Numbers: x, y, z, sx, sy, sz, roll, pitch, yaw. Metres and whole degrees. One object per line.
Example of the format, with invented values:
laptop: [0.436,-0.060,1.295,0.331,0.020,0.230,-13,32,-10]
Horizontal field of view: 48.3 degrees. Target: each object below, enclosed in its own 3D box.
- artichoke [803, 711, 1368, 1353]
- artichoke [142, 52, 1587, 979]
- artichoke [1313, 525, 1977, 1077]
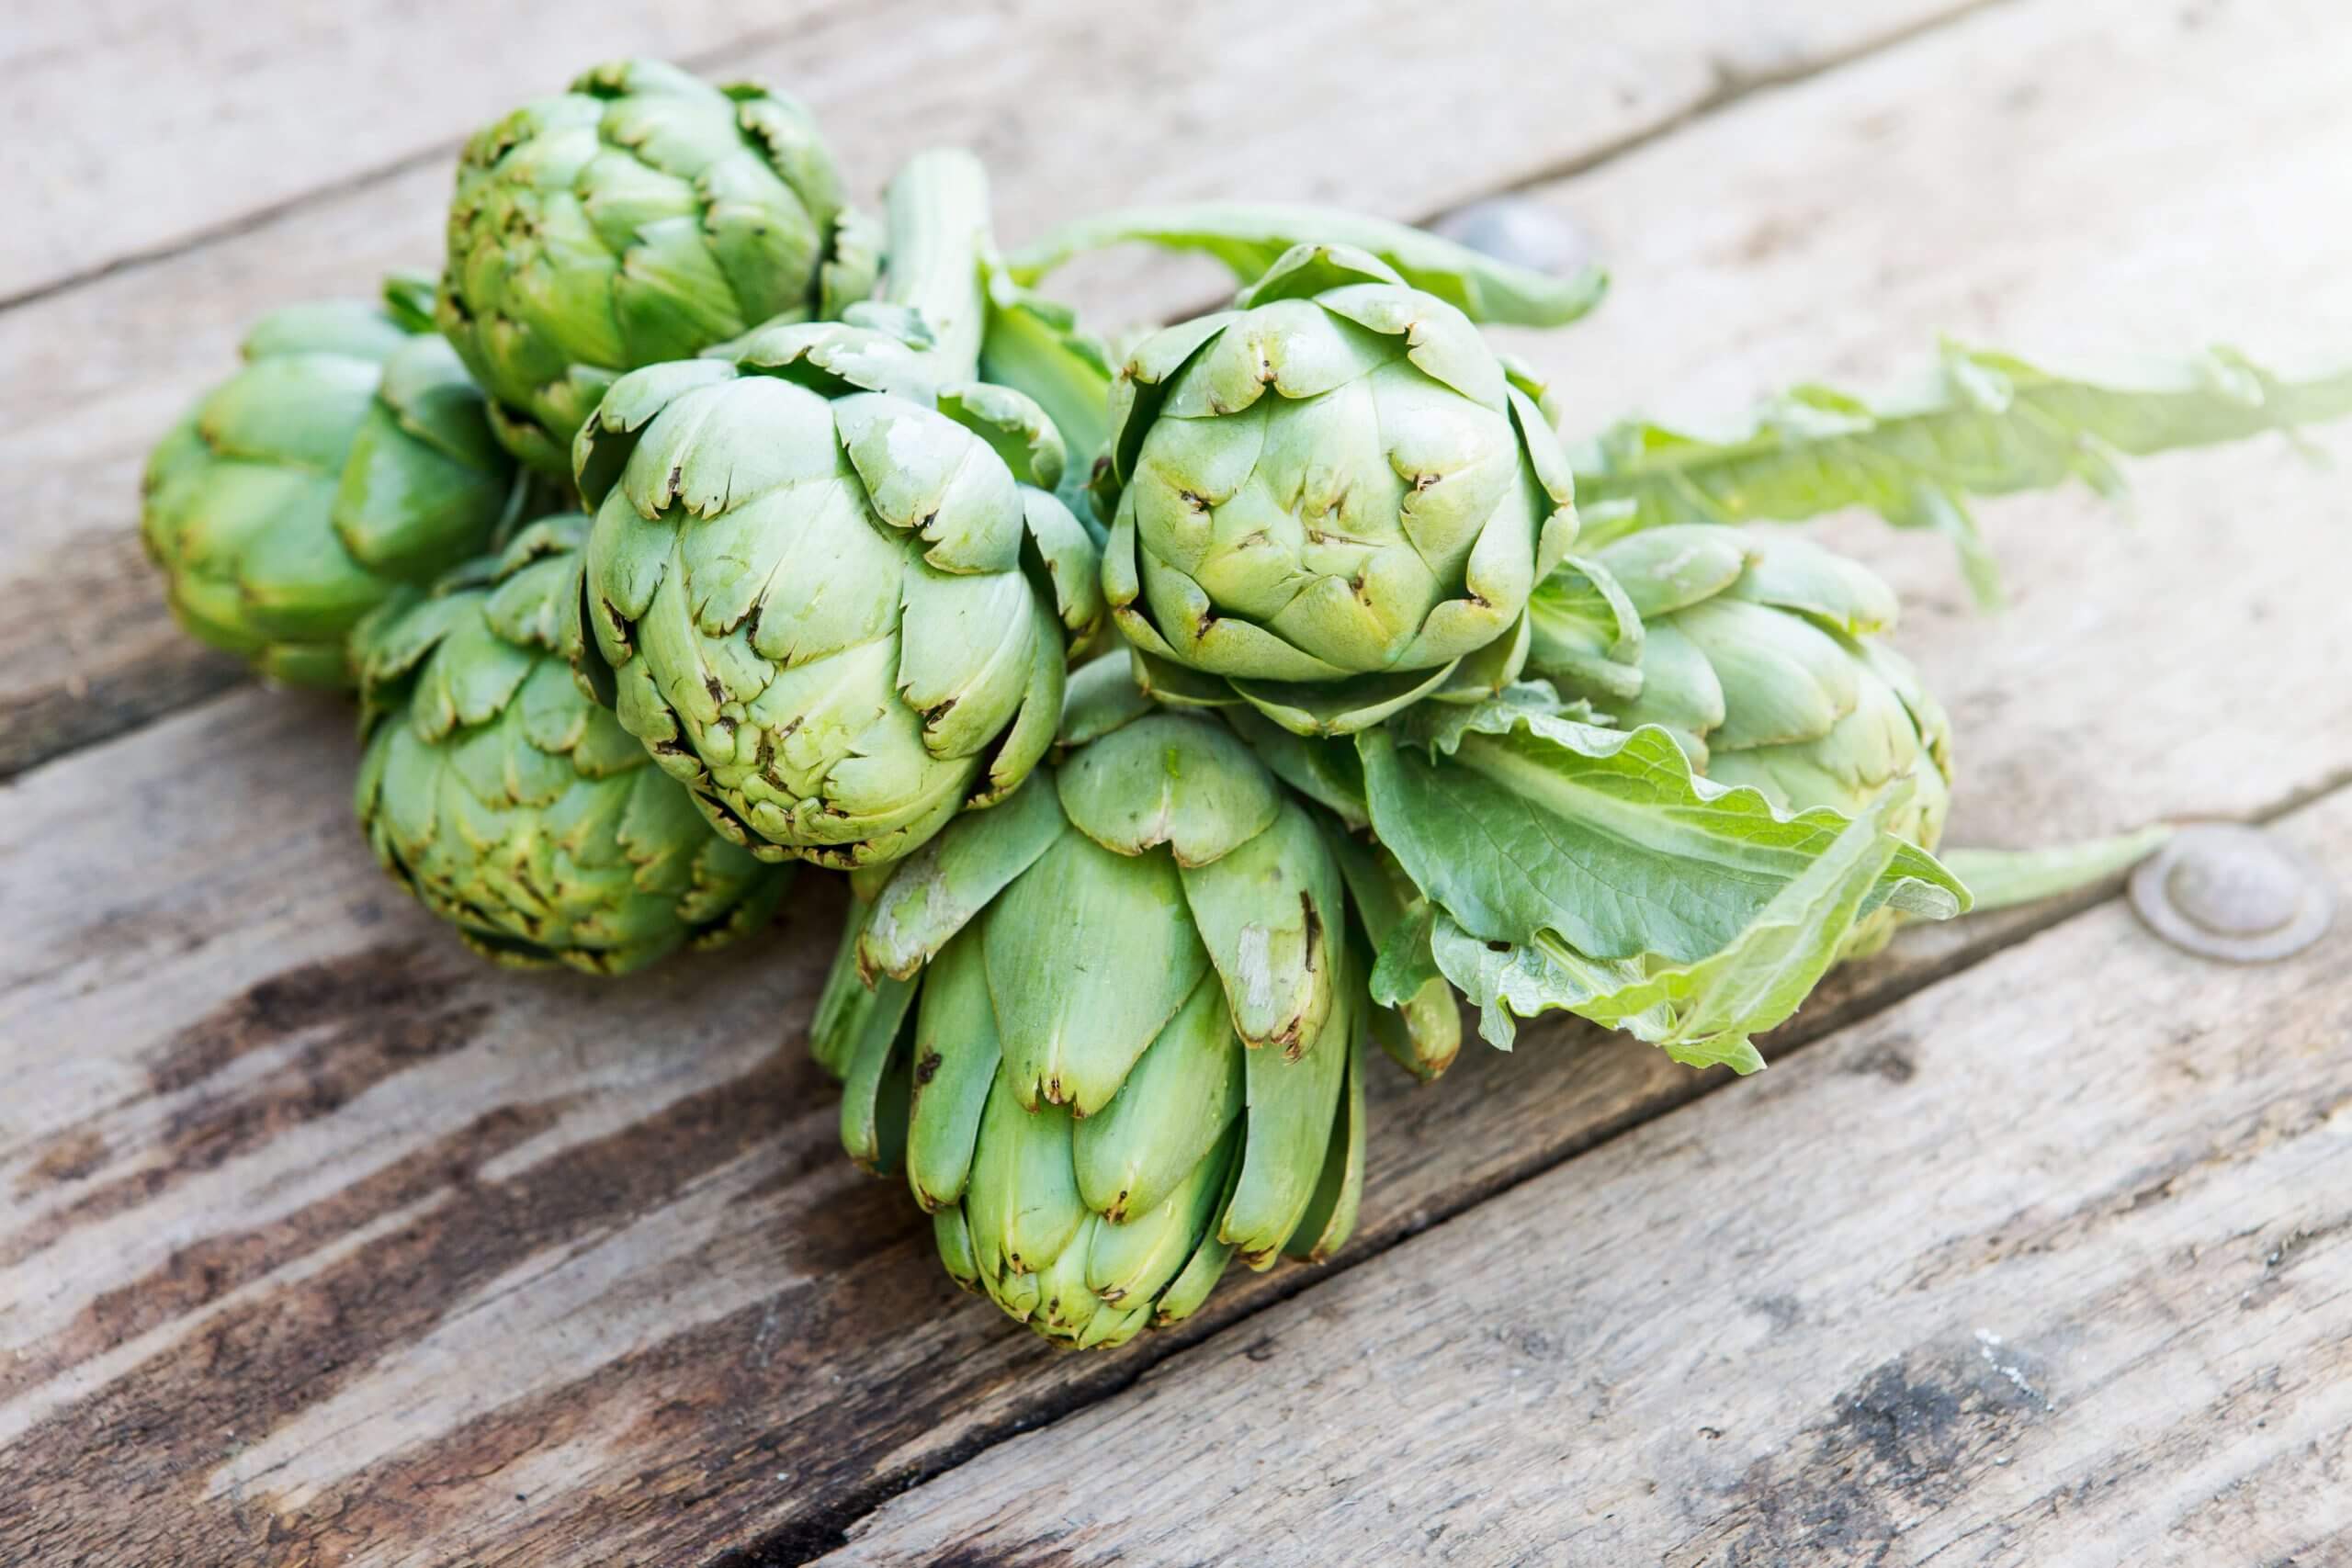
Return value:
artichoke: [-0.038,0.135,1.422,0.273,0.186,0.352,7,65,-3]
artichoke: [-0.200,-0.166,1.676,0.683,0.367,0.512,-33,61,-29]
artichoke: [0.222,0.007,1.455,0.342,0.182,0.281,17,31,26]
